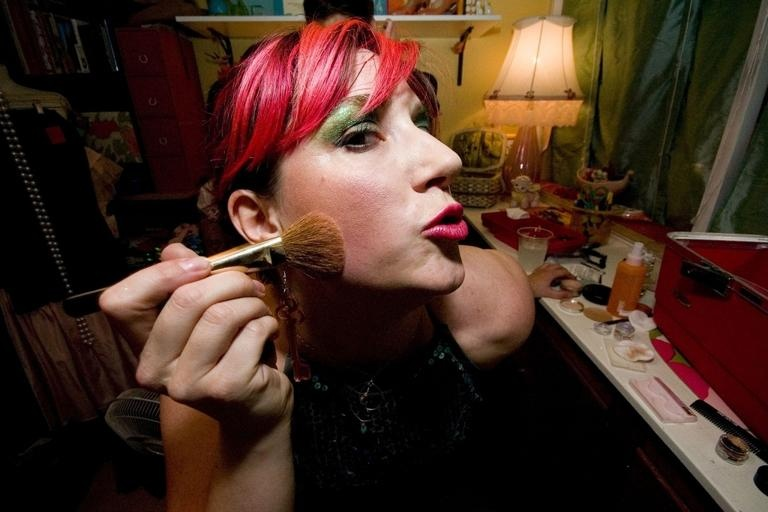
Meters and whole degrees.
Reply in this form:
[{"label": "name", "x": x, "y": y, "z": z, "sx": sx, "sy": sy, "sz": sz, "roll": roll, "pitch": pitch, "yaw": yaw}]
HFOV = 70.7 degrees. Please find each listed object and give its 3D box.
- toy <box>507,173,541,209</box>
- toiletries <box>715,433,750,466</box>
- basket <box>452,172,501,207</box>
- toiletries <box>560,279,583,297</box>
[{"label": "toy", "x": 0.765, "y": -0.349, "z": 2.957, "sx": 0.186, "sy": 0.226, "sz": 0.188, "roll": -5, "pitch": 6, "yaw": -42}, {"label": "toiletries", "x": 1.071, "y": 0.593, "z": 1.667, "sx": 0.095, "sy": 0.057, "sz": 0.075, "roll": 15, "pitch": 31, "yaw": 21}, {"label": "basket", "x": 0.517, "y": -0.343, "z": 3.035, "sx": 0.252, "sy": 0.180, "sz": 0.334, "roll": 0, "pitch": 8, "yaw": 7}, {"label": "toiletries", "x": 0.758, "y": 0.128, "z": 2.198, "sx": 0.070, "sy": 0.018, "sz": 0.071, "roll": -9, "pitch": 30, "yaw": -21}]
